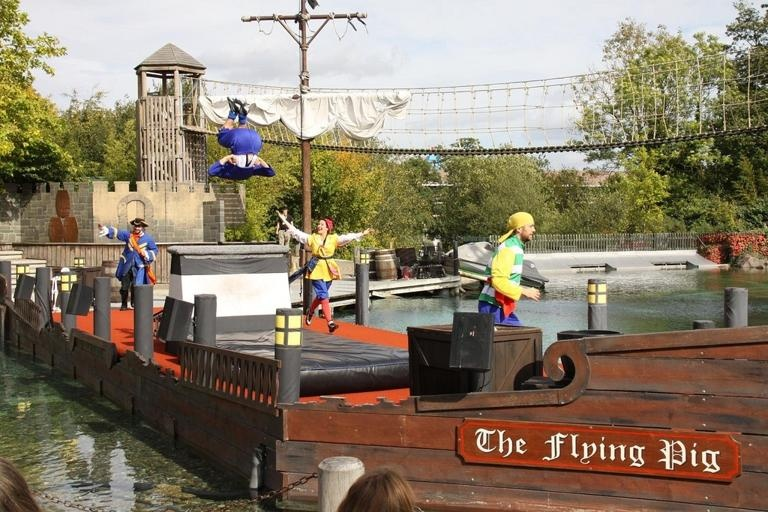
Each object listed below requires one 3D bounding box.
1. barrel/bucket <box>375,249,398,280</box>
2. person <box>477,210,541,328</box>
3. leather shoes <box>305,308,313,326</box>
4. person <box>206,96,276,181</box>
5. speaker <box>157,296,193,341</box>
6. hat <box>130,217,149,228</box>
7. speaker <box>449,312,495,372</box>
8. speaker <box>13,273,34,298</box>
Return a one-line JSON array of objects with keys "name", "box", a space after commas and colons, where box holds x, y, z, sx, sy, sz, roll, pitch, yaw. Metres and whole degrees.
[{"name": "barrel/bucket", "box": [0.076, 0.263, 46.146, 0.861, 1.219, 0.611, 0, 7, -14]}, {"name": "person", "box": [2.624, 0.255, 24.205, 1.151, 2.394, 1.142, 2, 6, 5]}, {"name": "leather shoes", "box": [-1.867, 1.529, 29.480, 0.167, 0.481, 0.205, -2, 20, -22]}, {"name": "person", "box": [-3.794, -3.095, 30.343, 1.481, 2.037, 0.935, -1, 10, -12]}, {"name": "speaker", "box": [-4.675, 1.390, 25.927, 0.585, 0.985, 1.013, 9, -1, -27]}, {"name": "hat", "box": [-7.566, -1.087, 35.456, 0.688, 0.270, 0.679, 11, 3, 3]}, {"name": "speaker", "box": [1.751, 1.651, 22.509, 1.042, 1.410, 0.739, 2, -8, 10]}, {"name": "speaker", "box": [-9.822, 0.829, 31.500, 0.367, 0.787, 1.316, -1, 7, -25]}]
